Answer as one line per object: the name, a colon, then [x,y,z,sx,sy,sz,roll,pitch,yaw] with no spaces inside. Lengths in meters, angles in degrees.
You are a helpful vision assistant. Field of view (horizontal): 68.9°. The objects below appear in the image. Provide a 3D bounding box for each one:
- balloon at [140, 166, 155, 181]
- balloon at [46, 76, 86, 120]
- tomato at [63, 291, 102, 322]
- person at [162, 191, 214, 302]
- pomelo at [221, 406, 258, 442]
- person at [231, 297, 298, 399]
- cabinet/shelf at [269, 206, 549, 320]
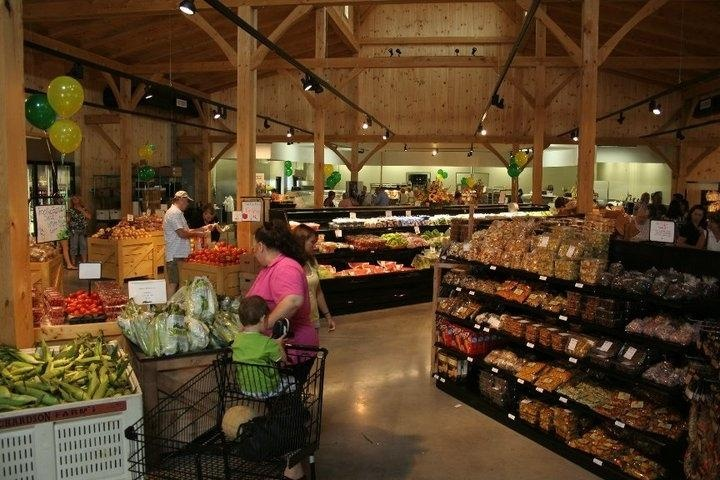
balloon: [-5.663,-1.819,13.936,0.334,0.392,0.414,21,7,-16]
balloon: [-3.639,-1.764,6.494,0.435,0.587,0.432,0,-1,-15]
tomato: [-2.949,0.726,5.634,0.296,0.156,0.416,2,12,-22]
person: [-2.964,0.026,8.800,0.621,1.905,0.626,0,2,-40]
pomelo: [-0.959,1.392,4.137,0.245,0.261,0.298,29,-20,-3]
person: [-0.786,0.987,4.337,0.433,0.861,0.470,-3,26,-2]
cabinet/shelf: [0.128,-0.996,10.417,7.269,2.912,1.489,-6,4,-40]
